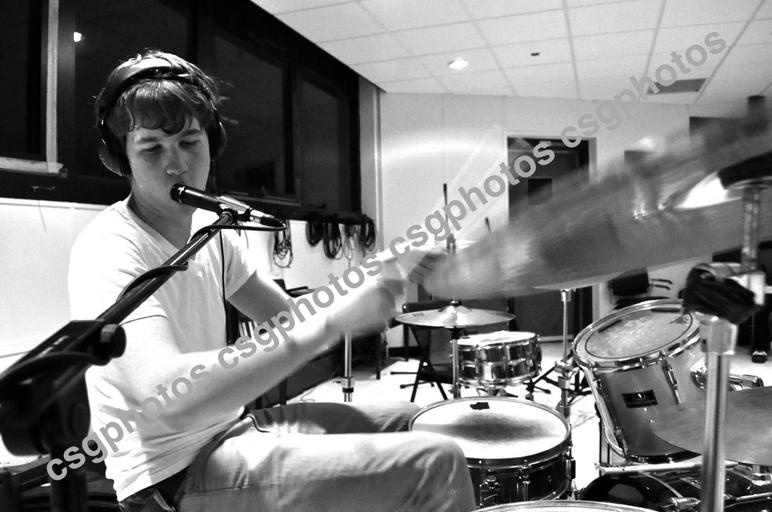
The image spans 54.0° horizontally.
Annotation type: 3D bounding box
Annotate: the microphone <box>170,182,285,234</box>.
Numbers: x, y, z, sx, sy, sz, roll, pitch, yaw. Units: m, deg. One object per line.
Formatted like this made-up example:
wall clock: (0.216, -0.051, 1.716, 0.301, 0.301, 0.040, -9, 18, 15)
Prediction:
microphone: (-0.448, -0.137, 2.082, 0.231, 0.129, 0.348, -3, 0, -32)

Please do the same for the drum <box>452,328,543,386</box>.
drum: (0.539, 0.493, 3.732, 0.455, 0.200, 0.487, -5, 3, 0)

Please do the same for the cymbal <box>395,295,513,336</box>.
cymbal: (0.295, 0.268, 3.772, 0.371, 0.089, 0.379, 0, 9, 29)

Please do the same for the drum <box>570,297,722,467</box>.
drum: (1.009, 0.595, 2.853, 0.481, 0.520, 0.494, -5, -1, 2)
